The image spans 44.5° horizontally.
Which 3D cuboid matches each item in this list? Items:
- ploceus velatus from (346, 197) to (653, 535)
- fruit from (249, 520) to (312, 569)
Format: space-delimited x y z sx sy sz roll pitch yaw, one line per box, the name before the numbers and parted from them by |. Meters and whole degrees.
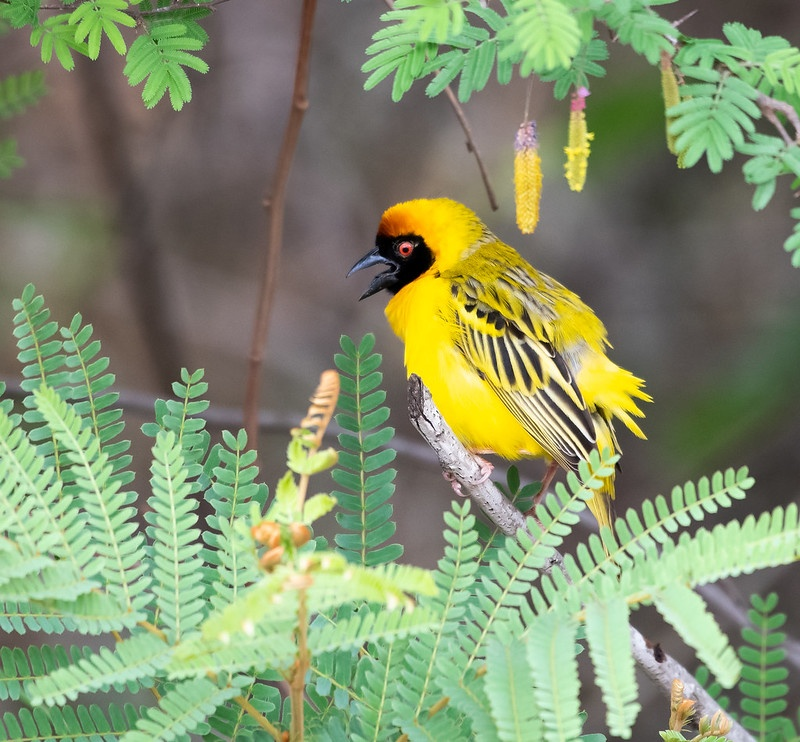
ploceus velatus | 0.295 -0.087 3.008 1.145 1.191 0.645 9 14 8
fruit | -0.137 0.198 1.119 0.066 0.054 0.051 2 -25 -7
